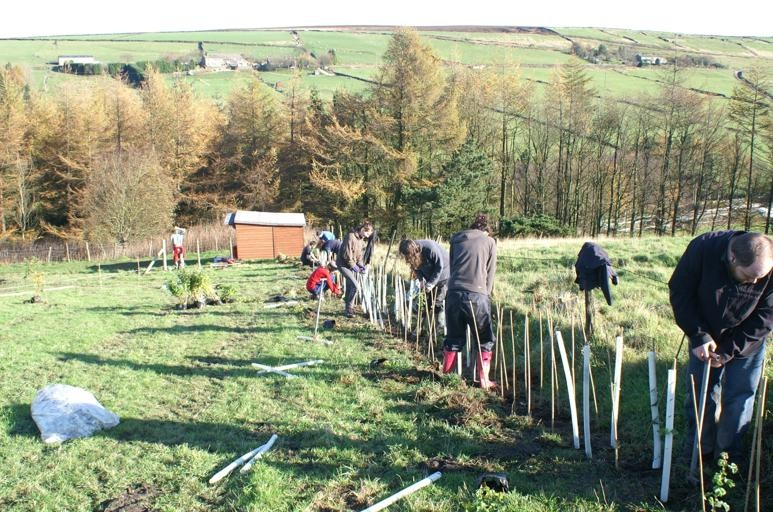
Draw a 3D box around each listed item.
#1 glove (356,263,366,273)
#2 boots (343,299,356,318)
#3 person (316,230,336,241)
[{"bbox_3d":[-1.216,0.610,42.237,0.312,0.446,0.443,2,4,-2],"label":"glove"},{"bbox_3d":[-1.836,2.655,42.026,0.617,1.066,0.770,1,1,0],"label":"boots"},{"bbox_3d":[-3.561,-1.199,48.965,1.085,0.592,1.679,2,3,2],"label":"person"}]
